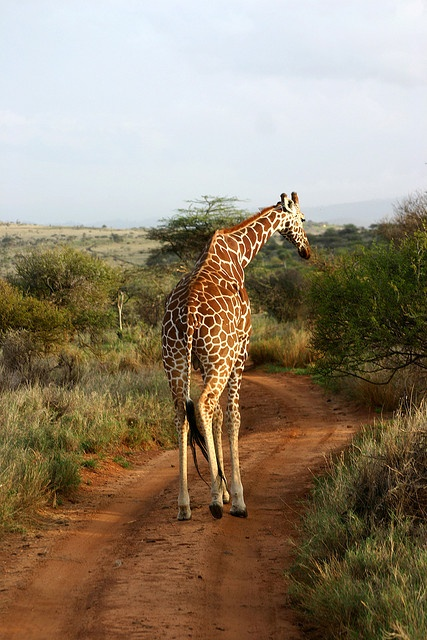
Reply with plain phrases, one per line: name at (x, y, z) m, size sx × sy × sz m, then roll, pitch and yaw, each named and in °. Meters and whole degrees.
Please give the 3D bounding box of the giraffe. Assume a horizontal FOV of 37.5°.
giraffe at (0.183, 0.224, 6.795) m, size 0.898 × 3.291 × 2.560 m, roll -1°, pitch 4°, yaw 21°
